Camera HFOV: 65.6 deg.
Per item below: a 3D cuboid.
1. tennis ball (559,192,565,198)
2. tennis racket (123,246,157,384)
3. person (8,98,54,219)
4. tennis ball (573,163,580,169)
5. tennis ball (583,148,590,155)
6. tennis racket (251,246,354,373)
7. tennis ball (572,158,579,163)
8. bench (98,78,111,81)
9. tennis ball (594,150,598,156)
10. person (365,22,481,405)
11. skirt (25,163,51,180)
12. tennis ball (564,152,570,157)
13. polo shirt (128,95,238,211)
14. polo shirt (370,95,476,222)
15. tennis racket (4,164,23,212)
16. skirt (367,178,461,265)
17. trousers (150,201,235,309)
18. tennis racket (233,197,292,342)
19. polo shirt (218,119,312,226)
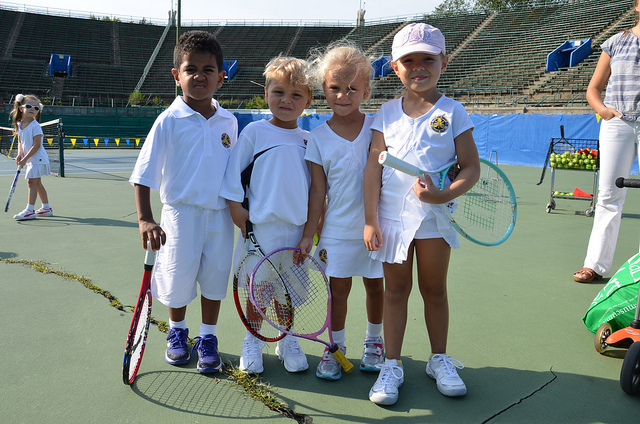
[{"bbox_3d":[3.982,-0.268,8.171,0.100,0.108,0.053,1,-5,-29],"label":"tennis ball"},{"bbox_3d":[-1.226,0.709,3.401,0.180,0.935,0.269,4,9,12],"label":"tennis racket"},{"bbox_3d":[-4.426,-0.882,7.640,0.477,1.709,1.444,-3,10,-31],"label":"person"},{"bbox_3d":[4.264,-0.760,8.256,0.092,0.091,0.034,7,10,25],"label":"tennis ball"},{"bbox_3d":[4.390,-0.978,8.190,0.098,0.079,0.078,24,-7,-27],"label":"tennis ball"},{"bbox_3d":[-0.149,0.641,3.555,0.990,0.544,0.100,50,13,8],"label":"tennis racket"},{"bbox_3d":[4.252,-0.852,8.255,0.024,0.076,0.102,-3,10,-32],"label":"tennis ball"},{"bbox_3d":[-16.416,-10.066,37.780,0.881,0.285,0.331,-1,10,-27],"label":"bench"},{"bbox_3d":[4.455,-0.951,8.001,0.056,0.072,0.063,-4,0,-39],"label":"tennis ball"},{"bbox_3d":[0.686,0.013,3.386,0.782,2.527,0.571,3,8,5],"label":"person"},{"bbox_3d":[-4.289,-0.598,7.519,0.212,0.235,0.328,-19,-12,35],"label":"skirt"},{"bbox_3d":[4.175,-0.961,8.376,0.085,0.073,0.062,2,9,-8],"label":"tennis ball"},{"bbox_3d":[-0.920,-0.432,3.808,0.991,0.899,0.413,4,-8,-29],"label":"polo shirt"},{"bbox_3d":[0.690,-0.351,3.387,0.692,1.000,0.475,4,-2,21],"label":"polo shirt"},{"bbox_3d":[-5.600,-0.416,9.069,0.200,1.521,0.176,5,41,-28],"label":"tennis racket"},{"bbox_3d":[0.630,0.118,3.469,0.562,0.474,0.204,-20,9,-35],"label":"skirt"},{"bbox_3d":[-0.938,0.303,3.636,0.648,0.951,0.380,4,4,-34],"label":"trousers"},{"bbox_3d":[-0.414,0.387,3.415,0.419,1.355,0.071,2,30,7],"label":"tennis racket"},{"bbox_3d":[-0.312,-0.259,3.750,0.893,0.865,0.338,9,-11,-30],"label":"polo shirt"}]
